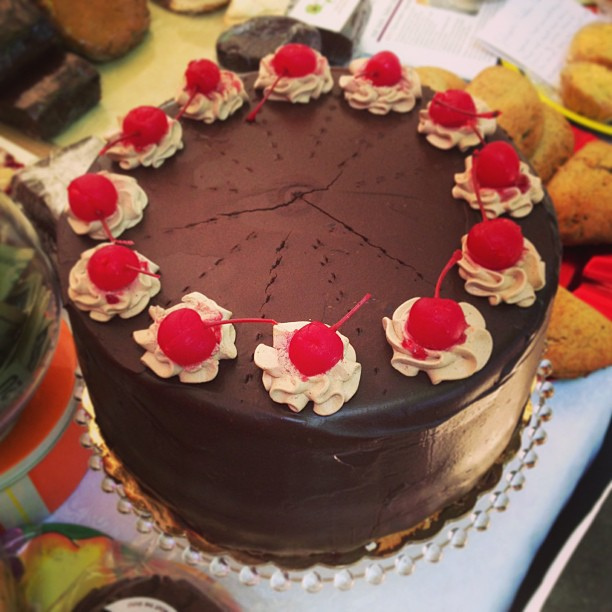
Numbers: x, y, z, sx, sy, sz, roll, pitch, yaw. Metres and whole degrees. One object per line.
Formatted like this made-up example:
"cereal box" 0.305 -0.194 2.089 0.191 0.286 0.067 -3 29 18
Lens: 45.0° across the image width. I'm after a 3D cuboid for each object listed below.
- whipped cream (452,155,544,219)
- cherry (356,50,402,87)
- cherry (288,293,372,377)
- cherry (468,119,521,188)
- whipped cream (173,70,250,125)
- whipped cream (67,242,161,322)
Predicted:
"whipped cream" 0.502 -0.305 1.948 0.172 0.110 0.240 9 36 2
"cherry" 0.235 -0.693 2.180 0.092 0.084 0.123 15 44 45
"cherry" 0.044 0.060 1.669 0.193 0.114 0.151 -4 39 -9
"cherry" 0.495 -0.397 1.951 0.095 0.135 0.140 -22 14 -8
"whipped cream" -0.271 -0.600 2.147 0.180 0.134 0.274 -2 37 3
"whipped cream" -0.455 -0.048 1.762 0.198 0.105 0.155 8 44 10
